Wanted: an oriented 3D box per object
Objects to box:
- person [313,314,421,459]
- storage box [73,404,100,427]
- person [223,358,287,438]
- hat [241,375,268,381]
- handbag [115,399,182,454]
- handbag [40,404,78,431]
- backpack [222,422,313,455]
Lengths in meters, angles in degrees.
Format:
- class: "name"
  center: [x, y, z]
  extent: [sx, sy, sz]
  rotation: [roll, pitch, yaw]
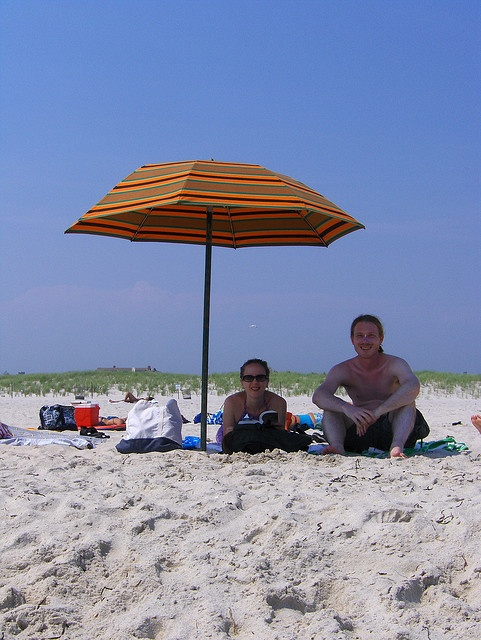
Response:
- class: "person"
  center: [0.894, 0.485, 4.910]
  extent: [0.775, 1.016, 0.678]
  rotation: [-1, 5, 13]
- class: "storage box"
  center: [-1.769, 1.137, 8.341]
  extent: [0.304, 0.326, 0.265]
  rotation: [-1, -9, 0]
- class: "person"
  center: [0.103, 0.709, 5.208]
  extent: [0.491, 0.801, 0.418]
  rotation: [0, -14, 1]
- class: "hat"
  center: [0.100, 0.419, 5.048]
  extent: [0.157, 0.056, 0.044]
  rotation: [-2, 4, -5]
- class: "handbag"
  center: [-0.706, 0.840, 5.578]
  extent: [0.598, 0.414, 0.336]
  rotation: [-1, -10, -3]
- class: "handbag"
  center: [-2.136, 1.161, 8.345]
  extent: [0.428, 0.273, 0.256]
  rotation: [8, -18, -14]
- class: "backpack"
  center: [0.170, 0.845, 4.973]
  extent: [0.385, 0.143, 0.291]
  rotation: [1, -1, 1]
